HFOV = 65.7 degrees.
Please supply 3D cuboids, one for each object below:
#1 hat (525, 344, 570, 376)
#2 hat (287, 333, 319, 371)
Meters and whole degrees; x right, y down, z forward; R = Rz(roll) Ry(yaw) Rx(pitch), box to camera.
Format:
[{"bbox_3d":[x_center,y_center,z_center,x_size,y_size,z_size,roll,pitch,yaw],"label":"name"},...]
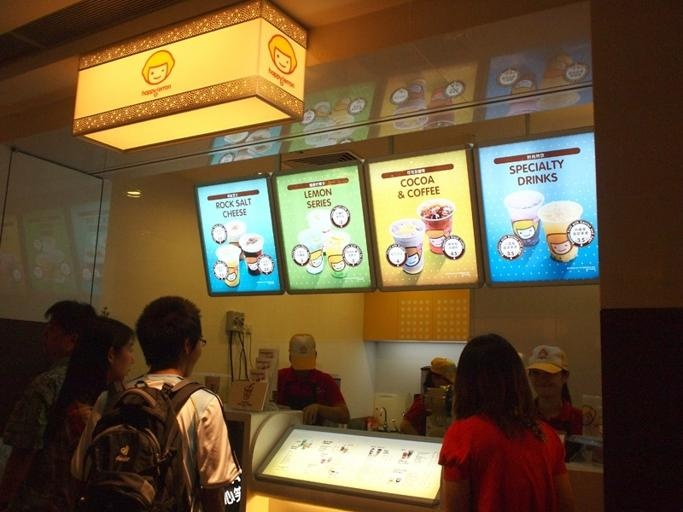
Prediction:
[{"bbox_3d":[1.021,0.523,2.621,0.124,0.090,0.174,-6,-15,38],"label":"hat"},{"bbox_3d":[-0.260,0.634,3.465,0.165,0.217,0.166,0,-3,-13],"label":"hat"}]
